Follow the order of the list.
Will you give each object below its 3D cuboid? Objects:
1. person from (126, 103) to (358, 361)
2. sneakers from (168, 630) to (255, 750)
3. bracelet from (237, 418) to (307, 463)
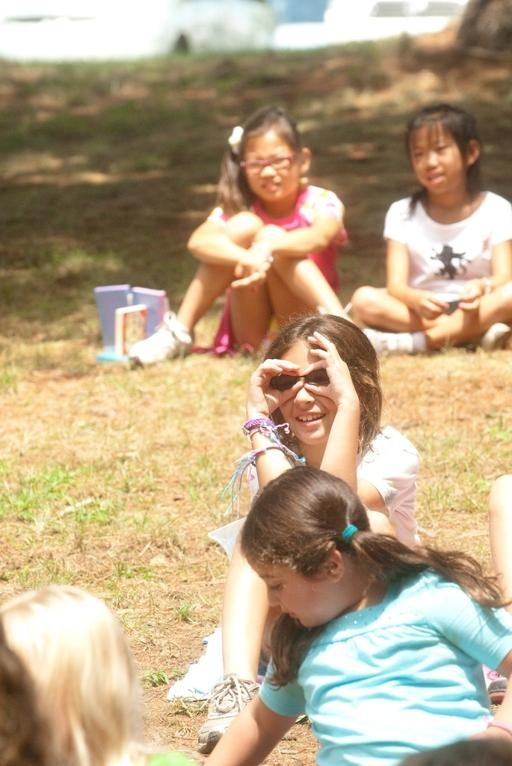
[{"bbox_3d":[0.030,-0.700,4.228,1.120,1.089,0.881,3,20,12],"label":"person"},{"bbox_3d":[-0.094,0.680,1.993,0.214,0.106,0.297,-44,10,1],"label":"sneakers"},{"bbox_3d":[0.026,0.145,2.177,0.148,0.121,0.062,-7,-34,-32],"label":"bracelet"}]
